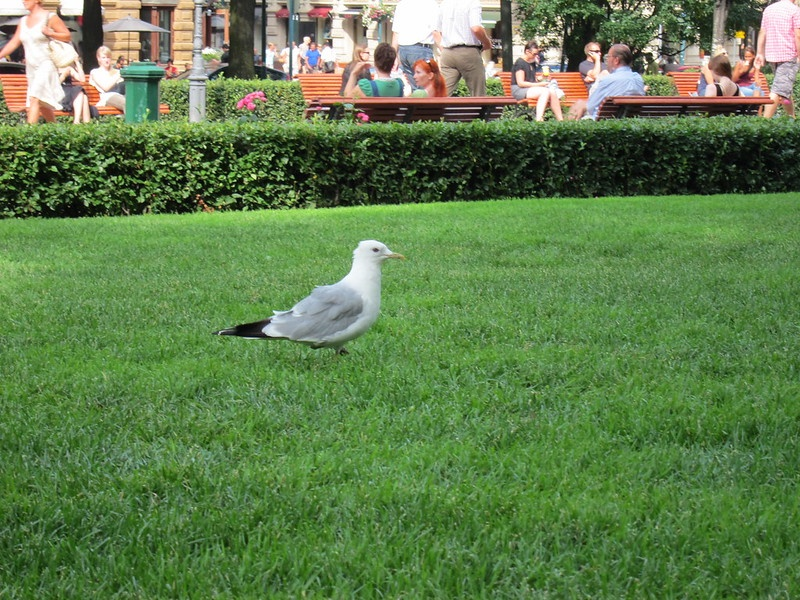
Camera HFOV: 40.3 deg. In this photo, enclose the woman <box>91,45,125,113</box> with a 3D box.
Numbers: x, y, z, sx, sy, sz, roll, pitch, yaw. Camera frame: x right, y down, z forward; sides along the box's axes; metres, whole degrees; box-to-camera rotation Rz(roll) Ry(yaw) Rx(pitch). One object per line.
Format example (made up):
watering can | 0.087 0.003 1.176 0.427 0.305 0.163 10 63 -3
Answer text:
woman | -5.925 -4.389 21.774 0.662 1.293 1.570 -3 10 -16
